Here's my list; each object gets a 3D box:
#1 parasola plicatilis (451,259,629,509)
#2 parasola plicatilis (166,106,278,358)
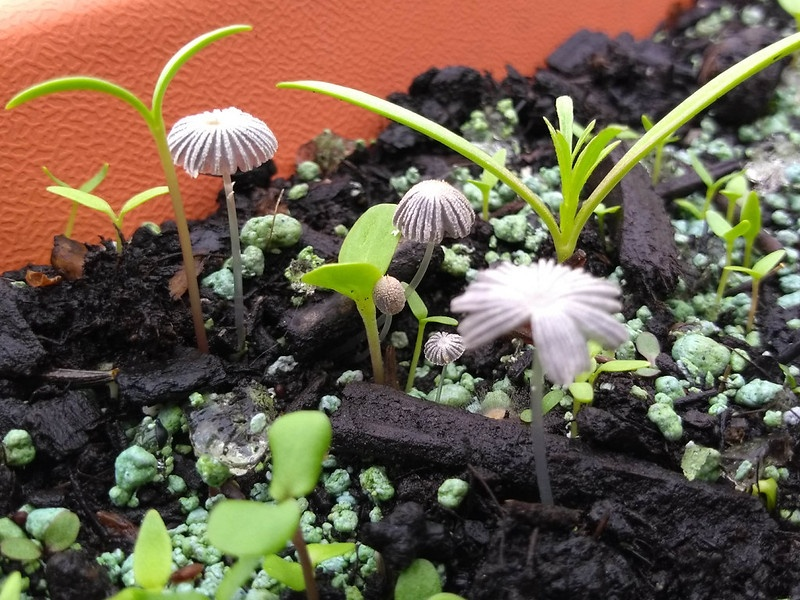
[{"bbox_3d":[0.318,0.148,1.928,0.498,0.622,0.435,-18,29,-16],"label":"parasola plicatilis"},{"bbox_3d":[-0.550,-0.228,2.402,0.325,0.766,0.252,-15,32,-23],"label":"parasola plicatilis"}]
